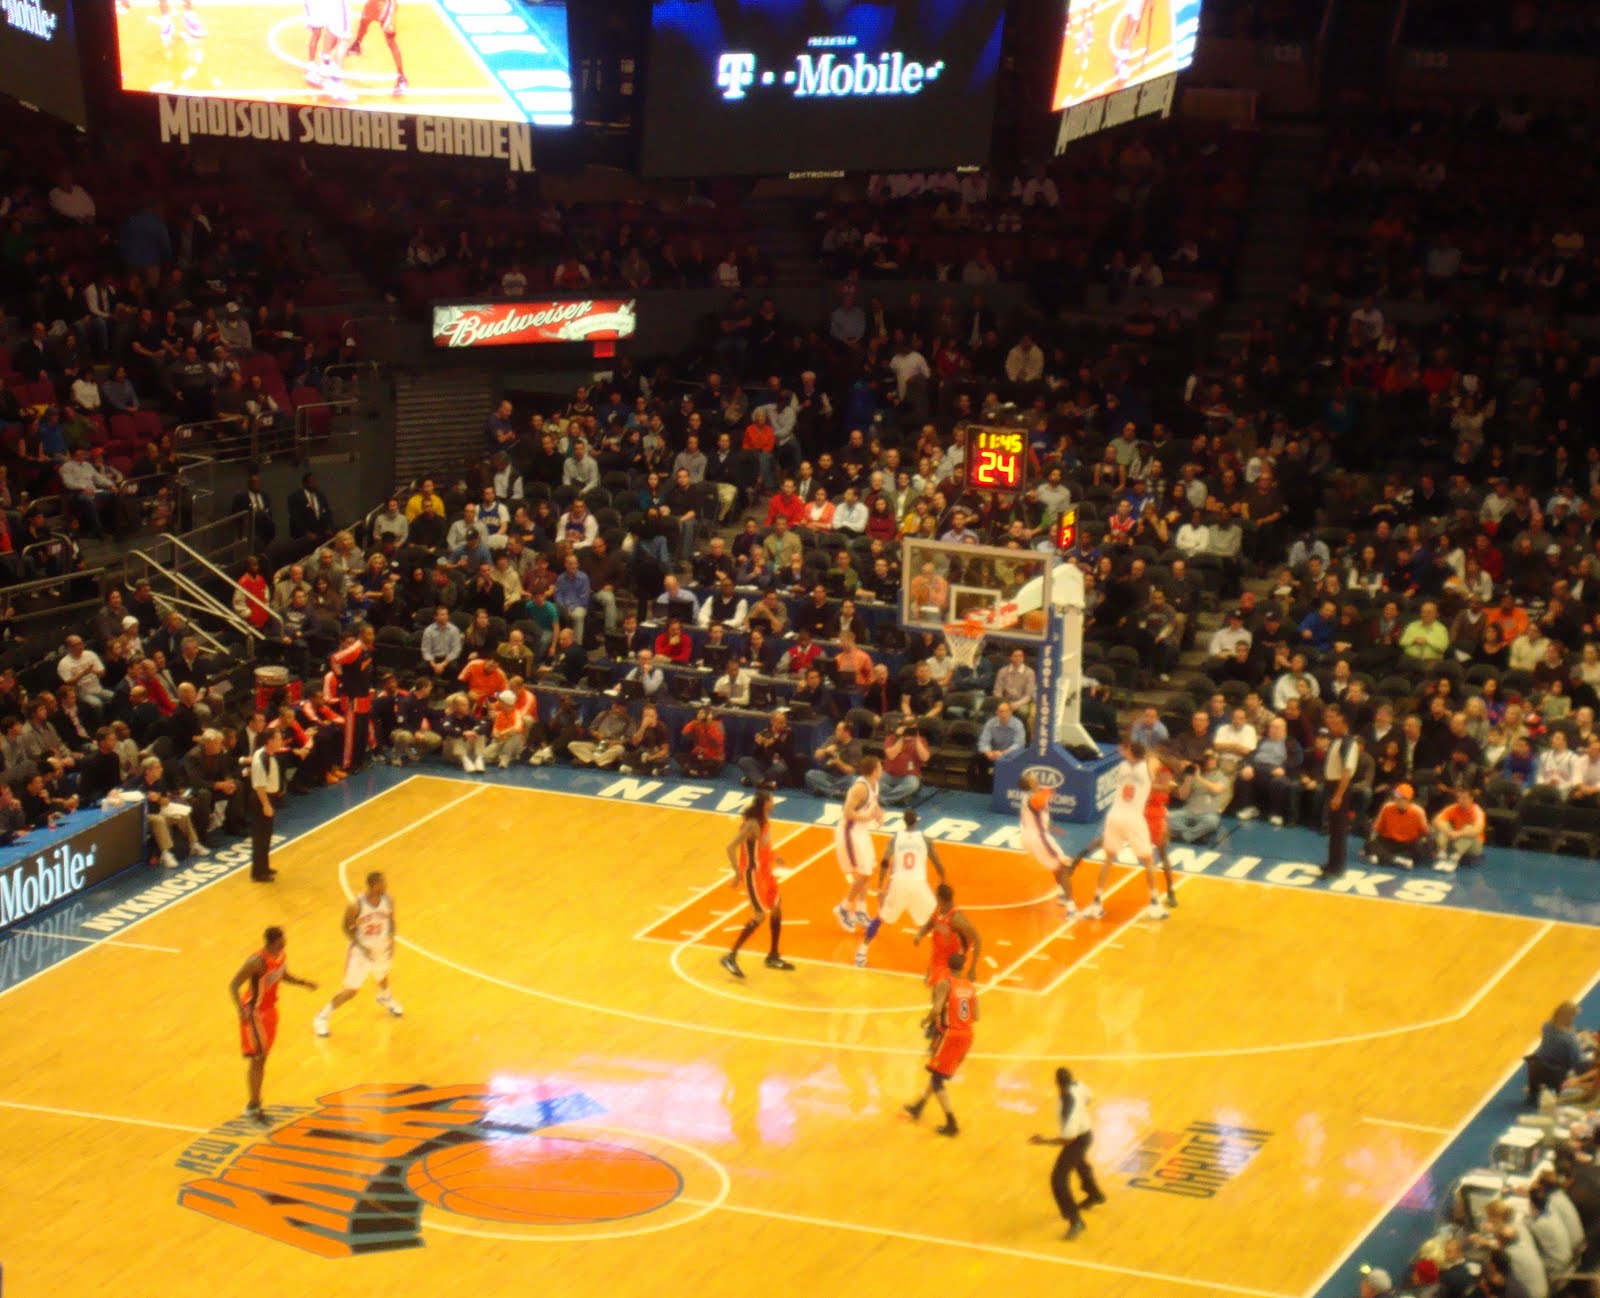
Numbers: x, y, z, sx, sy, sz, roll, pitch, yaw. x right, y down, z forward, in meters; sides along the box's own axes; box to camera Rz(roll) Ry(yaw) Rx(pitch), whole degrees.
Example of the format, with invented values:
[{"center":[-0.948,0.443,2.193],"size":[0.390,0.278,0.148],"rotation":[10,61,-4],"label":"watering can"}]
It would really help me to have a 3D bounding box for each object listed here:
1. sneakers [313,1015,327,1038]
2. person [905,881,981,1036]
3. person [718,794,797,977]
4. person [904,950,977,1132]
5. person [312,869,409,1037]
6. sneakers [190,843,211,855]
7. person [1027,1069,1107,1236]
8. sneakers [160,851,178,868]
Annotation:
[{"center":[-5.525,4.306,16.549],"size":[0.105,0.128,0.288],"rotation":[-7,30,-29],"label":"sneakers"},{"center":[1.446,3.156,14.606],"size":[0.519,1.678,0.606],"rotation":[-16,31,-39],"label":"person"},{"center":[-0.587,3.241,19.240],"size":[1.026,2.664,0.853],"rotation":[-4,37,-3],"label":"person"},{"center":[1.395,3.880,14.462],"size":[0.572,1.987,0.966],"rotation":[-1,12,-3],"label":"person"},{"center":[-5.030,3.509,16.702],"size":[1.093,2.041,0.689],"rotation":[-9,25,-44],"label":"person"},{"center":[-9.095,3.046,21.944],"size":[0.301,0.135,0.238],"rotation":[10,16,38],"label":"sneakers"},{"center":[2.454,4.693,13.291],"size":[0.513,1.484,0.556],"rotation":[11,50,23],"label":"person"},{"center":[-9.459,3.127,21.564],"size":[0.273,0.173,0.287],"rotation":[-5,13,-19],"label":"sneakers"}]
